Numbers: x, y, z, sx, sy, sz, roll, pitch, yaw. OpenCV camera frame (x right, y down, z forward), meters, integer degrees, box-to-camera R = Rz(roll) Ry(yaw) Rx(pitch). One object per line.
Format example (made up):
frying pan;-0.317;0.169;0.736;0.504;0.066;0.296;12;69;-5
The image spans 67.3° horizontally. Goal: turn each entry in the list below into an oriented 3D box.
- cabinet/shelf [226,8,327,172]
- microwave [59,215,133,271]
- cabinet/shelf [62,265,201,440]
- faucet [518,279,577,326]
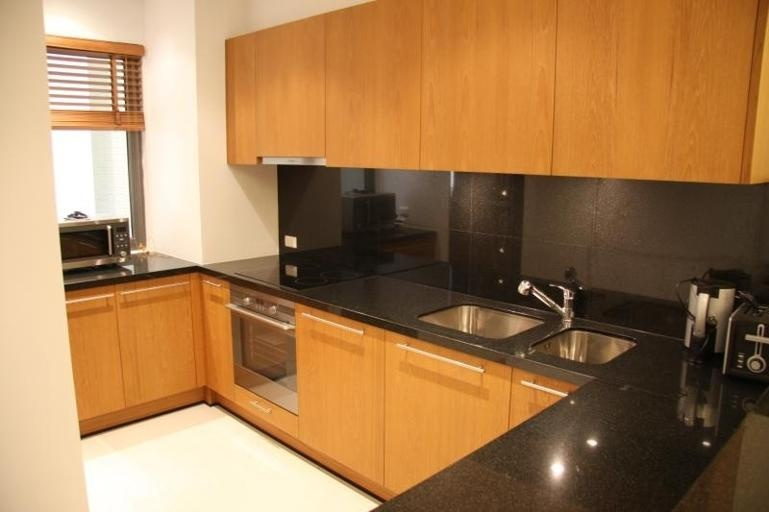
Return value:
cabinet/shelf;-0.561;-1.112;4.063;1.111;0.907;0.363;3;3;27
microwave;-2.065;-0.086;4.137;0.363;0.336;0.553;7;11;40
cabinet/shelf;-1.721;0.777;4.602;1.365;0.989;1.317;-2;-22;-31
faucet;0.921;0.242;3.262;0.305;0.226;0.234;0;11;17
